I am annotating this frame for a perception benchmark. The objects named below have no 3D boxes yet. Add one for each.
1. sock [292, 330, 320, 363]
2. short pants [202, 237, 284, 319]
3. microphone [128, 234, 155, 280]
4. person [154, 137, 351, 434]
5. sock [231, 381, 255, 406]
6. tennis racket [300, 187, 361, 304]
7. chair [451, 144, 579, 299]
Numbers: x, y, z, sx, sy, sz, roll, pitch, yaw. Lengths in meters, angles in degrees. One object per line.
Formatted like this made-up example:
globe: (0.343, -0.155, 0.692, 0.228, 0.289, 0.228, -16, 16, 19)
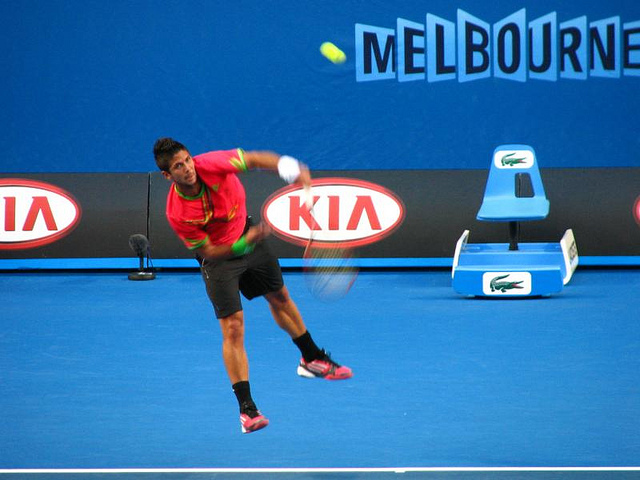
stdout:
sock: (-0.075, 0.691, 5.640, 0.135, 0.191, 0.107, -27, -7, -20)
short pants: (-0.456, 0.141, 5.582, 0.543, 0.322, 0.571, -28, 0, 5)
microphone: (-1.940, 0.174, 9.440, 0.299, 0.505, 0.290, 3, 1, 13)
person: (-0.438, 0.187, 5.422, 0.662, 1.697, 0.934, 9, 17, 39)
sock: (-0.458, 0.911, 5.171, 0.099, 0.128, 0.130, -5, 14, -16)
tennis racket: (0.093, 0.083, 5.730, 0.377, 0.706, 0.261, 5, 16, -14)
chair: (2.003, -0.226, 8.628, 1.085, 1.333, 1.958, 3, 14, 16)
